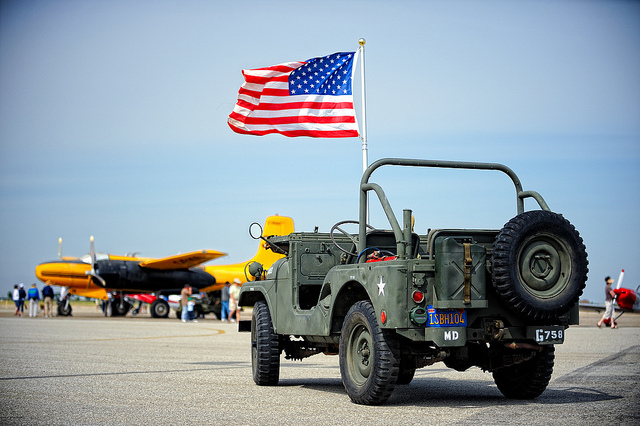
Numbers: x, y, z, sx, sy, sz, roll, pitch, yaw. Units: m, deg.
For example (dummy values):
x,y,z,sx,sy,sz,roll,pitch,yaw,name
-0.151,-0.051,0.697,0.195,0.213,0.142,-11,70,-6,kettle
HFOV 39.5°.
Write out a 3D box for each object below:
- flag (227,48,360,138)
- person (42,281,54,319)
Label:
x,y,z,sx,sy,sz,roll,pitch,yaw,name
-0.600,-2.501,20.624,3.599,2.896,0.636,-1,-8,-8,flag
-12.212,3.892,39.886,0.455,1.581,1.180,1,-3,-17,person
